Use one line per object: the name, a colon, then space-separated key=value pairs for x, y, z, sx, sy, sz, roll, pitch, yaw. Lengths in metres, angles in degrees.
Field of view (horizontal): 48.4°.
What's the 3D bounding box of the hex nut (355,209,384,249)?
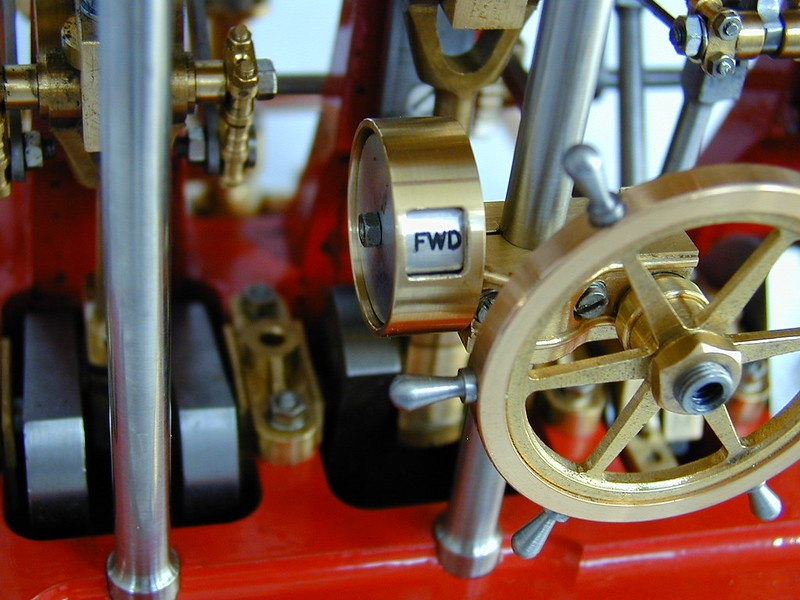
hex nut: x=-0.038 y=-0.094 z=1.150 sx=0.038 sy=0.067 sz=0.036 roll=-3 pitch=27 yaw=-5
